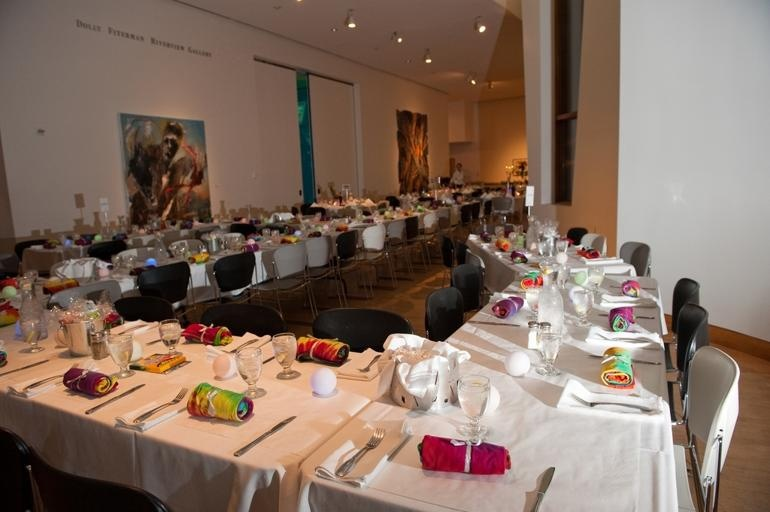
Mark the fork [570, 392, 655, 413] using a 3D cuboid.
[{"bbox_3d":[0.947,0.613,1.981,0.268,0.042,0.039,3,15,20],"label":"fork"}]

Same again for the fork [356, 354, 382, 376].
[{"bbox_3d":[-0.071,0.540,2.367,0.039,0.035,0.232,8,18,15],"label":"fork"}]

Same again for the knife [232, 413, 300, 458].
[{"bbox_3d":[-0.449,0.700,1.976,0.065,0.022,0.467,14,17,28],"label":"knife"}]

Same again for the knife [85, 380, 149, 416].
[{"bbox_3d":[-1.218,0.647,2.266,0.057,0.019,0.427,14,13,23],"label":"knife"}]

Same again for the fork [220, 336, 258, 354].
[{"bbox_3d":[-0.783,0.478,2.529,0.172,0.025,0.024,-21,34,-33],"label":"fork"}]
